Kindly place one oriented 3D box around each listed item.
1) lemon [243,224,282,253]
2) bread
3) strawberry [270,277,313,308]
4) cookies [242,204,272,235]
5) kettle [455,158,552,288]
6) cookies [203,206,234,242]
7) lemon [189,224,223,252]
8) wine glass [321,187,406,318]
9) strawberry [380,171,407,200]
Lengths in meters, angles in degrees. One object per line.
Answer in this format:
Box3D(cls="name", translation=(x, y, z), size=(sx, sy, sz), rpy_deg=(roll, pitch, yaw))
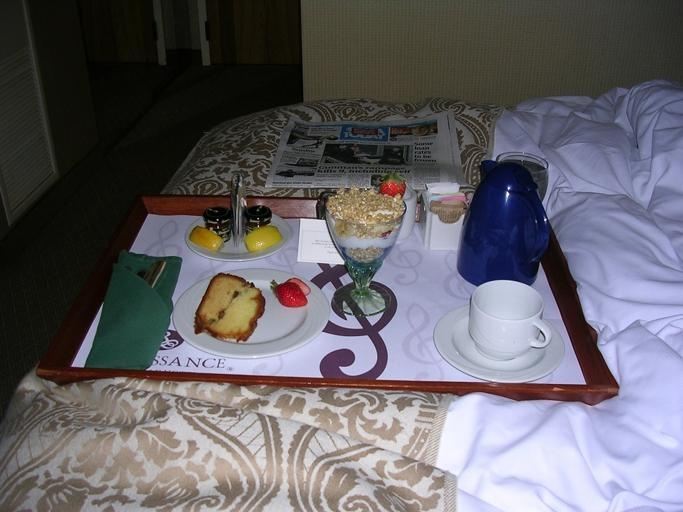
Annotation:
Box3D(cls="lemon", translation=(-0.192, -0.041, 1.073), size=(0.084, 0.030, 0.052), rpy_deg=(-19, 79, -21))
Box3D(cls="bread", translation=(-0.221, 0.103, 0.888), size=(0.109, 0.028, 0.113), rpy_deg=(23, 55, 31))
Box3D(cls="strawberry", translation=(-0.102, 0.066, 0.907), size=(0.067, 0.042, 0.051), rpy_deg=(15, 20, 19))
Box3D(cls="cookies", translation=(-0.212, -0.087, 1.156), size=(0.061, 0.070, 0.062), rpy_deg=(29, 43, 32))
Box3D(cls="kettle", translation=(0.360, -0.079, 0.981), size=(0.188, 0.261, 0.195), rpy_deg=(-27, 37, -31))
Box3D(cls="cookies", translation=(-0.296, -0.075, 1.131), size=(0.075, 0.077, 0.077), rpy_deg=(4, 28, 4))
Box3D(cls="lemon", translation=(-0.329, -0.041, 1.070), size=(0.078, 0.027, 0.048), rpy_deg=(33, 81, 25))
Box3D(cls="wine glass", translation=(0.042, -0.001, 0.892), size=(0.143, 0.240, 0.158), rpy_deg=(-3, 41, -3))
Box3D(cls="strawberry", translation=(0.115, -0.157, 1.009), size=(0.065, 0.064, 0.067), rpy_deg=(9, 77, 1))
